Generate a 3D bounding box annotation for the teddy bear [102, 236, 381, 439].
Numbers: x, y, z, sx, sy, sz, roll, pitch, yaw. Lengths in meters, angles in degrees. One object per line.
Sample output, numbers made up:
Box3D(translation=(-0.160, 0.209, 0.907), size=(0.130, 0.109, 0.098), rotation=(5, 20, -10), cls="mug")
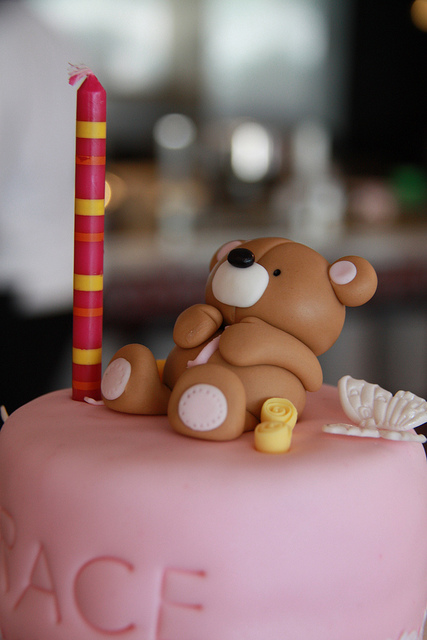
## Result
Box3D(translation=(0.059, 0.028, 1.470), size=(0.558, 0.409, 0.487), rotation=(7, 6, 5), cls="teddy bear")
